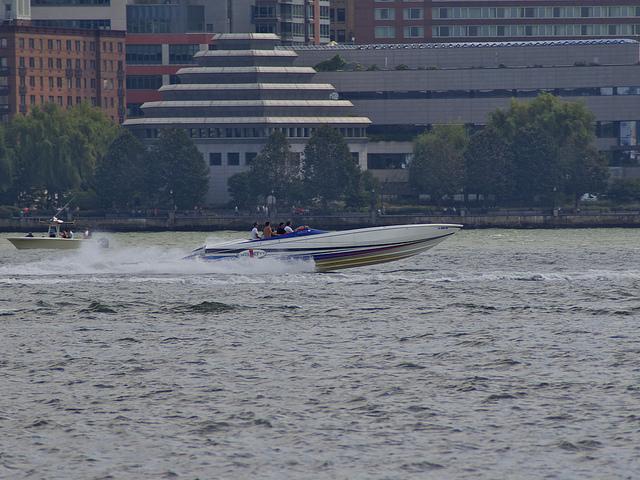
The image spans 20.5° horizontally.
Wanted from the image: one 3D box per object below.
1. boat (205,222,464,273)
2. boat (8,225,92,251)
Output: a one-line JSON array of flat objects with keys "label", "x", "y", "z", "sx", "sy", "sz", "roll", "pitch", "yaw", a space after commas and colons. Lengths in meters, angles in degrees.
[{"label": "boat", "x": 0.490, "y": 0.743, "z": 113.577, "sx": 14.482, "sy": 3.046, "sz": 1.503, "roll": -1, "pitch": 4, "yaw": 0}, {"label": "boat", "x": -20.213, "y": -0.057, "z": 128.219, "sx": 7.354, "sy": 1.732, "sz": 2.081, "roll": 0, "pitch": -1, "yaw": 12}]
